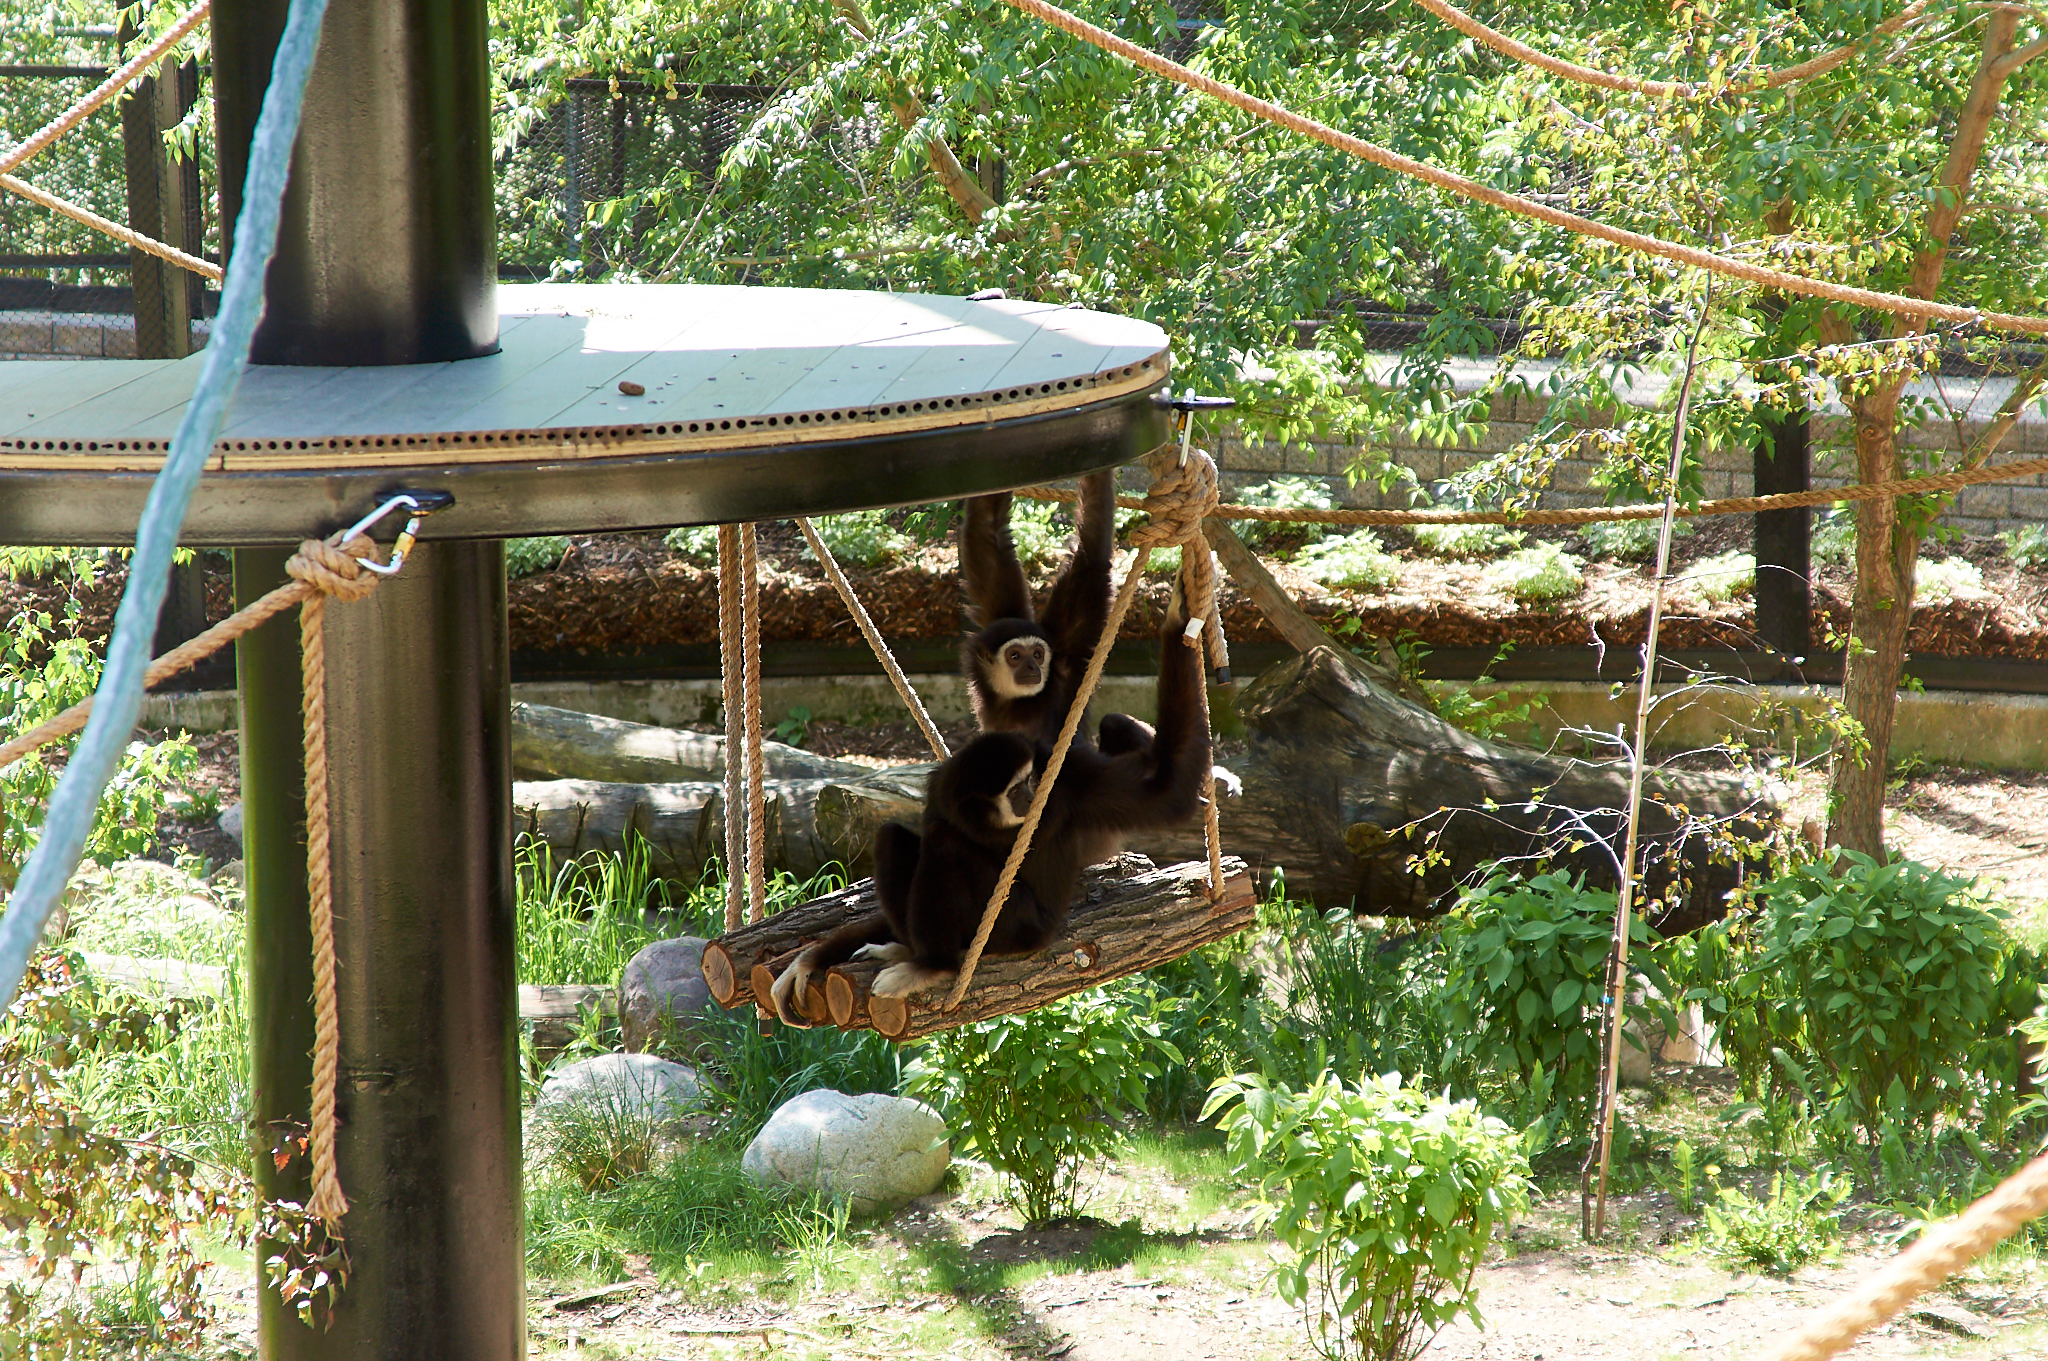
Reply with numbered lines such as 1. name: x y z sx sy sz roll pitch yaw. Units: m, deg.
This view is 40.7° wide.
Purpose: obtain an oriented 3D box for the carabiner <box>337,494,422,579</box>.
1. carabiner: -2.050 -0.463 8.832 0.344 0.274 0.199 2 7 -4
